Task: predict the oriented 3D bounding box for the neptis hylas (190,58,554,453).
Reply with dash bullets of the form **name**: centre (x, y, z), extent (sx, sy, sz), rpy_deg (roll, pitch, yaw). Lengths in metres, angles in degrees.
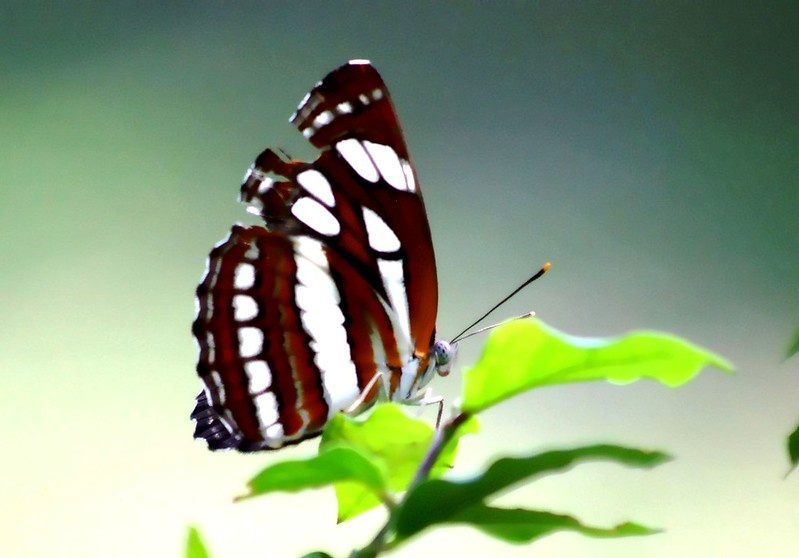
- **neptis hylas**: centre (-0.125, 0.014, 1.061), extent (0.378, 0.284, 0.361), rpy_deg (-19, -42, 12)
